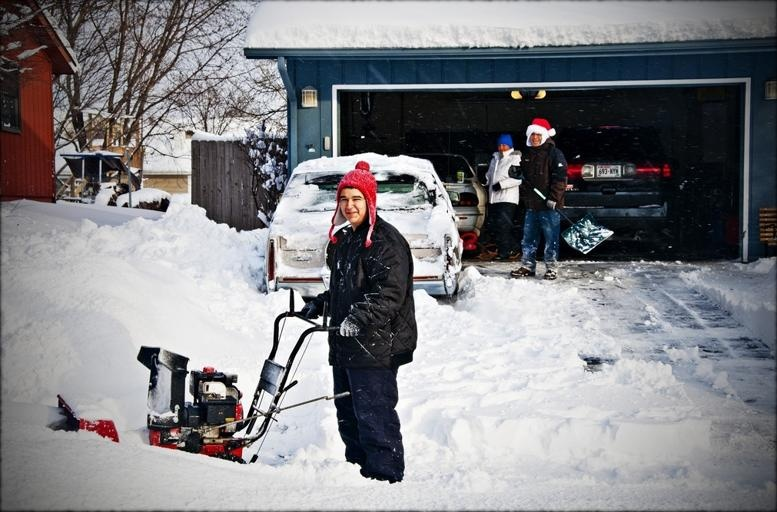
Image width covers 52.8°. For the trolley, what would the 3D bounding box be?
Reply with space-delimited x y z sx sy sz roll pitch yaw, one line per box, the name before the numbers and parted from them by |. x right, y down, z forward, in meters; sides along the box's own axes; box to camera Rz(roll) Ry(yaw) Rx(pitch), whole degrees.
trolley | -2.046 1.530 8.532 2.477 1.517 0.979 3 -17 -4

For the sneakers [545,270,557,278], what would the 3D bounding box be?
sneakers | 2.666 0.315 13.041 0.214 0.148 0.155 -2 5 -7

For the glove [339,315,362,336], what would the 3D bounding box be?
glove | -0.406 0.718 7.991 0.218 0.207 0.062 -1 4 -3

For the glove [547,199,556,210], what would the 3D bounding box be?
glove | 2.634 -0.841 12.838 0.091 0.144 0.050 -8 -1 7

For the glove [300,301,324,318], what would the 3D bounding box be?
glove | -0.852 0.616 8.645 0.224 0.172 0.092 -30 -27 -15

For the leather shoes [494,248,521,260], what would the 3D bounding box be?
leather shoes | 2.319 -0.018 15.257 0.213 0.278 0.615 -6 -10 40

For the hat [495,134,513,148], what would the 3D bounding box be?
hat | 2.167 -2.173 14.857 0.235 0.282 0.335 -2 -15 32

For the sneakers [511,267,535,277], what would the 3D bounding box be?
sneakers | 2.255 0.297 13.297 0.413 0.199 0.163 4 2 0

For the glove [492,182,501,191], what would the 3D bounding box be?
glove | 1.959 -1.272 14.465 0.105 0.164 0.052 8 0 35

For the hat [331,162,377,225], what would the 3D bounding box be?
hat | -0.348 -0.678 8.355 0.495 0.698 0.390 1 -3 31
